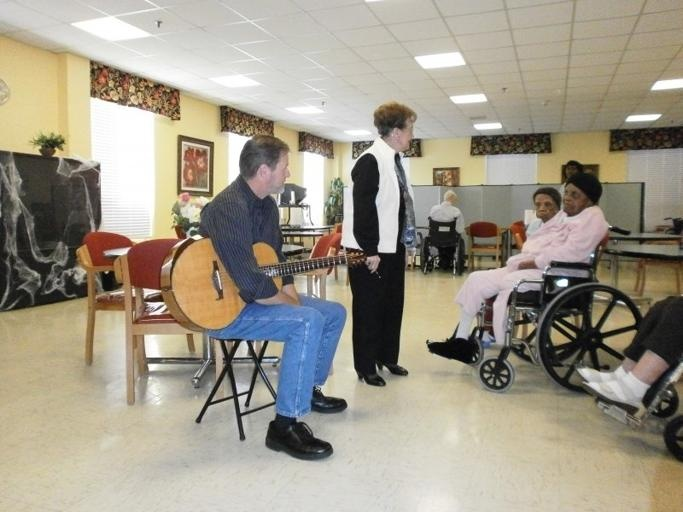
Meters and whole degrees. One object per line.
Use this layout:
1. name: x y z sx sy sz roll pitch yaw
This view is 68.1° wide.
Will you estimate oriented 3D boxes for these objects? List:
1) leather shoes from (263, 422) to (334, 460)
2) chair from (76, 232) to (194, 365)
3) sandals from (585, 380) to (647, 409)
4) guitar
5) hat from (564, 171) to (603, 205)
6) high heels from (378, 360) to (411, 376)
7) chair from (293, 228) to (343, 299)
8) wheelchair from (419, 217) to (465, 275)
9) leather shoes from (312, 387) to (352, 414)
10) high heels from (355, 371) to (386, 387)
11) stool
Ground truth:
1. leather shoes: -0.233 0.985 2.716 0.329 0.155 0.164 5 3 12
2. chair: -1.918 0.399 4.416 0.708 0.846 0.694 12 -11 -40
3. sandals: 1.513 0.763 2.787 0.267 0.111 0.116 11 5 18
4. guitar: -0.518 0.160 2.837 0.925 0.548 0.352 -5 11 -26
5. hat: 1.822 -0.503 3.796 0.281 0.250 0.236 1 10 7
6. high heels: 0.408 0.863 3.873 0.251 0.111 0.094 1 2 9
7. chair: -0.201 0.099 4.160 0.357 0.543 0.359 4 12 -27
8. wheelchair: 1.860 -0.167 9.383 0.712 1.057 1.104 3 0 10
9. leather shoes: -0.054 0.938 3.267 0.244 0.160 0.117 -1 0 0
10. high heels: 0.216 0.894 3.647 0.195 0.086 0.087 -2 0 20
11. stool: -0.605 0.785 3.263 0.552 0.795 0.526 0 0 31
